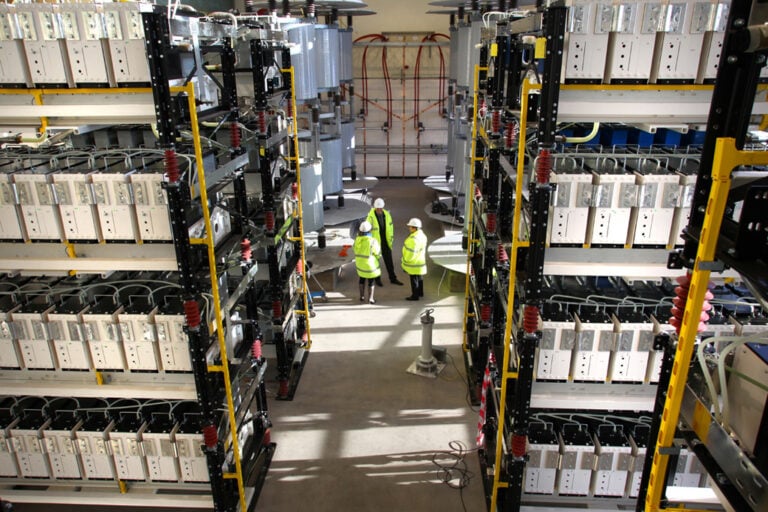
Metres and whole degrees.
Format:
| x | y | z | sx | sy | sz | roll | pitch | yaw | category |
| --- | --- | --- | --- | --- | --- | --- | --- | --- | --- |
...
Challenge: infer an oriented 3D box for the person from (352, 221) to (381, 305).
| x | y | z | sx | sy | sz | roll | pitch | yaw | category |
| --- | --- | --- | --- | --- | --- | --- | --- | --- | --- |
| -0.360 | 0.097 | 12.259 | 0.483 | 1.668 | 0.885 | -2 | 18 | -3 | person |

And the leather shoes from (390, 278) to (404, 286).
| x | y | z | sx | sy | sz | roll | pitch | yaw | category |
| --- | --- | --- | --- | --- | --- | --- | --- | --- | --- |
| 0.248 | 0.549 | 13.126 | 0.337 | 0.212 | 0.114 | -2 | 18 | 11 | leather shoes |

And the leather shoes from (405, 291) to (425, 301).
| x | y | z | sx | sy | sz | roll | pitch | yaw | category |
| --- | --- | --- | --- | --- | --- | --- | --- | --- | --- |
| 0.613 | 0.796 | 12.469 | 0.372 | 0.244 | 0.133 | 5 | 21 | 15 | leather shoes |

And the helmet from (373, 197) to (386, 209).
| x | y | z | sx | sy | sz | roll | pitch | yaw | category |
| --- | --- | --- | --- | --- | --- | --- | --- | --- | --- |
| -0.122 | -1.078 | 12.449 | 0.310 | 0.216 | 0.433 | -1 | 9 | 0 | helmet |

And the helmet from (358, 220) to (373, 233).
| x | y | z | sx | sy | sz | roll | pitch | yaw | category |
| --- | --- | --- | --- | --- | --- | --- | --- | --- | --- |
| -0.375 | -0.579 | 12.093 | 0.223 | 0.278 | 0.542 | -1 | 18 | -1 | helmet |
